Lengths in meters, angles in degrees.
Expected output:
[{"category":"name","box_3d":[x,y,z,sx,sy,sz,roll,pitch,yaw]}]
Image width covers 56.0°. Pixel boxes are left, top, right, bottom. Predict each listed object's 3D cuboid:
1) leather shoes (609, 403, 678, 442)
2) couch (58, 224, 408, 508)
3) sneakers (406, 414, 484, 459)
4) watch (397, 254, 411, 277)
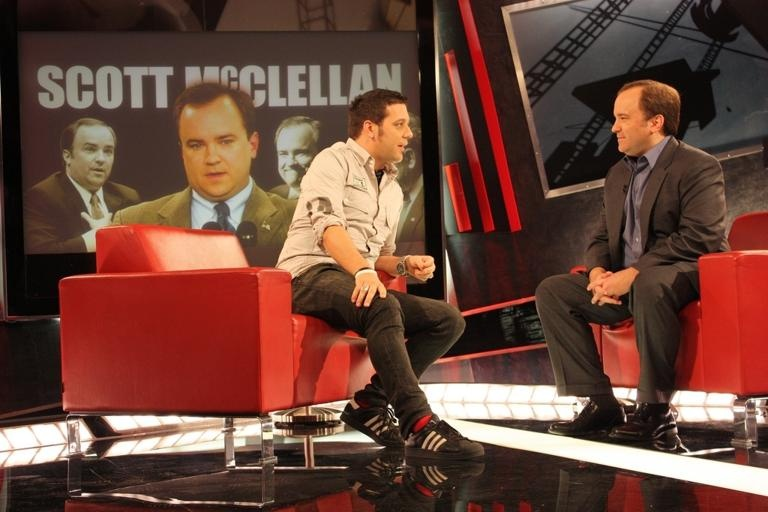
[{"category":"leather shoes","box_3d":[1.205,0.755,3.316,0.360,0.161,0.158,-2,4,-22]},{"category":"couch","box_3d":[-0.575,0.348,3.417,1.095,1.271,1.425,-2,-3,21]},{"category":"sneakers","box_3d":[0.249,0.759,3.059,0.348,0.149,0.147,1,-1,6]},{"category":"watch","box_3d":[0.093,0.045,3.506,0.047,0.061,0.082,-2,20,-4]}]
